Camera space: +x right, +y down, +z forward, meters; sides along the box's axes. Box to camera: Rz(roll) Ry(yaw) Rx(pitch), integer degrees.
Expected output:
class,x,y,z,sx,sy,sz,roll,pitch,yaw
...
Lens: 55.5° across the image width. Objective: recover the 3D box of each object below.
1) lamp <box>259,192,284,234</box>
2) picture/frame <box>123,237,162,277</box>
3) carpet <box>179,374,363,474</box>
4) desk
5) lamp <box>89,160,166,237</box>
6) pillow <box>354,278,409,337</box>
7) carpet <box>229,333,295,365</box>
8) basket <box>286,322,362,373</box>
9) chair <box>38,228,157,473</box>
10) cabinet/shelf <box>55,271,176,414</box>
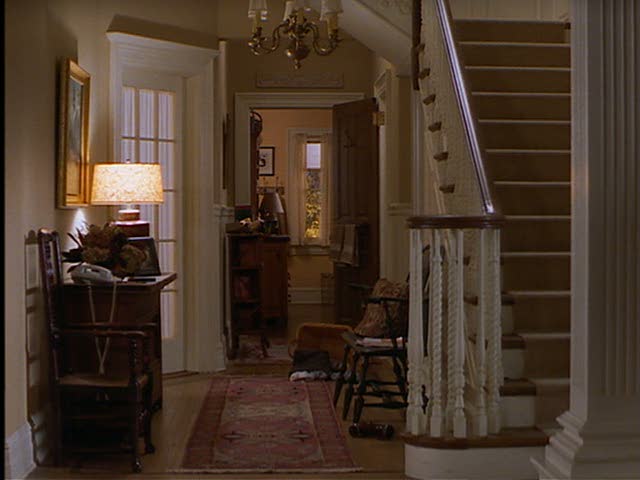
class,x,y,z,sx,sy,sz,roll,pitch,yaw
lamp,-0.787,-0.431,9.998,0.370,0.707,0.397,1,-4,-10
picture/frame,-1.259,0.142,4.418,0.306,0.250,0.313,4,20,-25
carpet,-0.377,1.318,4.455,1.066,0.034,1.824,0,4,-6
desk,-0.627,0.644,7.514,0.505,1.520,1.596,-1,0,10
lamp,-1.476,-0.321,4.659,0.506,0.534,0.536,-1,4,-22
pillow,0.495,0.488,4.559,0.374,0.524,0.384,1,-1,-25
carpet,-0.617,1.174,6.701,0.628,0.130,1.112,0,4,-2
basket,0.003,1.084,6.141,0.713,0.293,0.787,-10,0,16
chair,-1.373,0.654,3.857,0.638,1.459,0.677,0,3,-8
cabinet/shelf,-1.297,0.800,4.325,0.732,1.170,1.137,-1,1,0
